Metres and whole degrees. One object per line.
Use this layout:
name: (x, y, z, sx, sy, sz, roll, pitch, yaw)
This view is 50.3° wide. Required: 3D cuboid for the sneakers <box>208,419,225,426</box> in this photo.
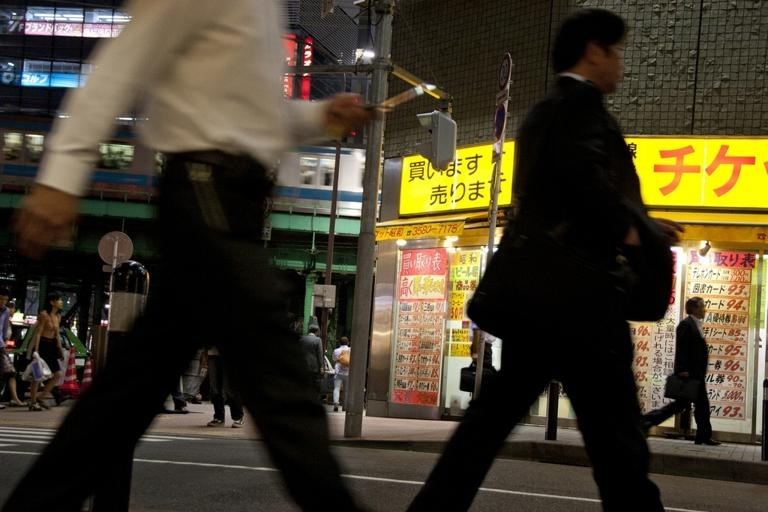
sneakers: (-2.482, 2.491, 12.040, 0.258, 0.100, 0.084, 8, -40, 2)
